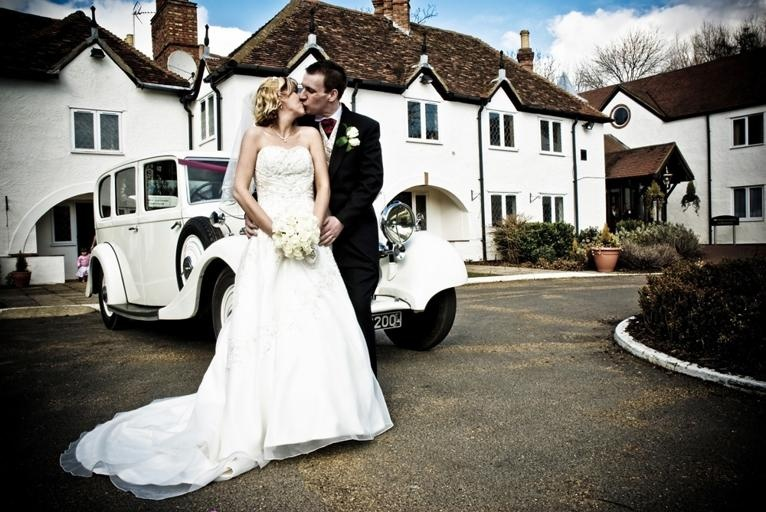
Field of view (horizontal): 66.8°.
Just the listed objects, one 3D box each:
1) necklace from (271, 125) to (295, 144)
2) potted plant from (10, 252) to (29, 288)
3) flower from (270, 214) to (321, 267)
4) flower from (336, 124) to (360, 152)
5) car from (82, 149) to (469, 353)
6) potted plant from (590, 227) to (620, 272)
[{"bbox_3d":[-1.067,-1.284,6.157,0.145,0.220,0.073,5,-17,-26],"label":"necklace"},{"bbox_3d":[-11.242,0.447,17.957,0.505,1.009,0.735,-1,2,-15],"label":"potted plant"},{"bbox_3d":[-0.855,-0.225,5.946,0.406,0.467,0.460,12,-31,9],"label":"flower"},{"bbox_3d":[-0.375,-1.263,6.269,0.240,0.263,0.126,0,-40,-24],"label":"flower"},{"bbox_3d":[-2.106,-0.141,8.942,2.729,3.016,6.398,1,-6,-39],"label":"car"},{"bbox_3d":[7.443,-0.272,19.407,0.941,1.535,2.288,1,2,22],"label":"potted plant"}]
